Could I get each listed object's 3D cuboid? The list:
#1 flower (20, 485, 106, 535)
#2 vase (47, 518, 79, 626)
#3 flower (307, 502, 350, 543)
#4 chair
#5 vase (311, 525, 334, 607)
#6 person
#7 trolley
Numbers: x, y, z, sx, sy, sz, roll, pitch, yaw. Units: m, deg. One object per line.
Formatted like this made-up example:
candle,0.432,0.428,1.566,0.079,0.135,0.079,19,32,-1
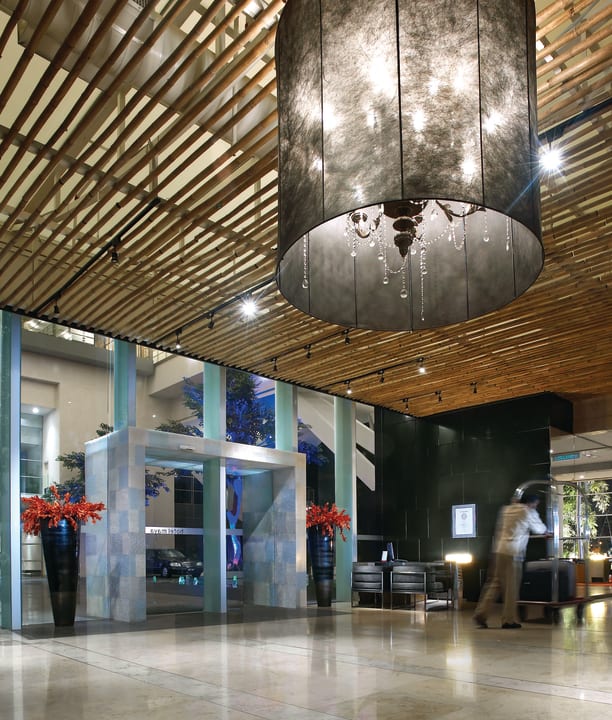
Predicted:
flower,-2.906,1.841,9.251,0.721,0.501,0.713,-5,-2,43
vase,-2.945,2.561,9.123,0.394,1.265,0.476,2,-10,-13
flower,0.346,2.586,12.164,0.611,0.623,0.613,-1,-10,-3
chair,1.506,3.635,12.299,0.610,0.490,0.984,7,-11,-38
vase,0.254,3.233,11.871,0.324,1.199,0.440,0,-10,1
person,2.386,2.427,8.960,0.611,1.503,0.796,1,-10,-5
trolley,3.276,2.574,10.204,0.960,1.641,1.025,11,-15,-42
